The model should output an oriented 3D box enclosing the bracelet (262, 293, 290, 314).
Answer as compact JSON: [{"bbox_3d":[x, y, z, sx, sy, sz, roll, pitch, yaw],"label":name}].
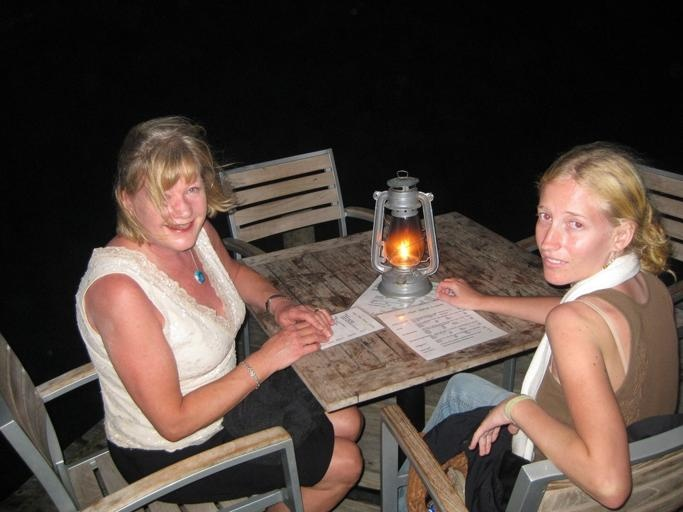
[{"bbox_3d":[-0.273,0.185,2.031,0.083,0.069,0.022,7,-7,-1],"label":"bracelet"}]

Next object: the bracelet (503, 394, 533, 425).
[{"bbox_3d":[0.480,0.421,1.420,0.078,0.077,0.020,-25,35,28],"label":"bracelet"}]

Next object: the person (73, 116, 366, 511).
[{"bbox_3d":[-0.470,0.269,1.806,0.821,1.454,0.720,-19,25,-26],"label":"person"}]

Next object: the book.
[{"bbox_3d":[0.264,0.243,1.867,0.344,0.004,0.289,-16,32,-27],"label":"book"}]

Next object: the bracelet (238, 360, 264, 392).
[{"bbox_3d":[-0.296,0.389,1.689,0.027,0.103,0.097,-43,18,-15],"label":"bracelet"}]
